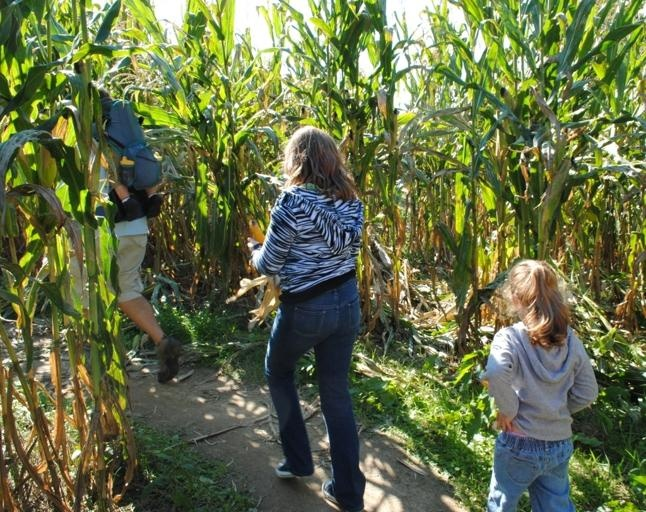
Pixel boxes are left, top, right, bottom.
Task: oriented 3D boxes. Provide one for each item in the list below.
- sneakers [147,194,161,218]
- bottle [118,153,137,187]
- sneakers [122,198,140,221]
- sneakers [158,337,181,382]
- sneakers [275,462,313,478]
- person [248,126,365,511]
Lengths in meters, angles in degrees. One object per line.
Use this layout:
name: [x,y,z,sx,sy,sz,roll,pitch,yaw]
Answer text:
sneakers: [-0.992,-0.303,3.392,0.047,0.132,0.090,9,5,-4]
bottle: [-1.097,-0.479,3.198,0.082,0.159,0.110,3,3,-22]
sneakers: [-1.101,-0.275,3.263,0.096,0.126,0.063,4,17,5]
sneakers: [-0.896,0.618,3.407,0.105,0.320,0.138,-11,27,-35]
sneakers: [-0.149,1.109,2.962,0.174,0.086,0.081,5,1,8]
person: [-0.052,0.305,2.791,0.625,1.848,0.347,4,3,-10]
